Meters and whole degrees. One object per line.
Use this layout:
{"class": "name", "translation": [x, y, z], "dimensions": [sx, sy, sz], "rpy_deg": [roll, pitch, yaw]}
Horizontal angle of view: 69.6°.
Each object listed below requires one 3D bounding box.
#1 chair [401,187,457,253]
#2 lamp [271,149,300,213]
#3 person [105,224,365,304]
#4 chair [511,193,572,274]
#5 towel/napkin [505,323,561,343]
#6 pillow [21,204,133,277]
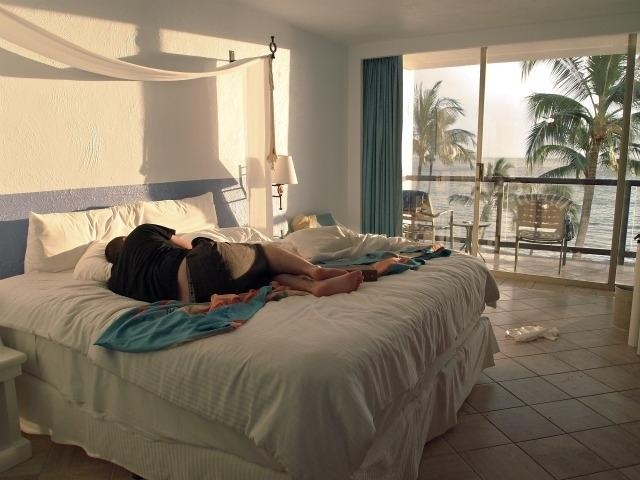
{"class": "chair", "translation": [1.464, -0.214, 6.303], "dimensions": [0.690, 0.885, 0.732], "rpy_deg": [-1, 6, -16]}
{"class": "lamp", "translation": [-0.379, -0.582, 4.820], "dimensions": [0.247, 0.598, 0.576], "rpy_deg": [-1, 10, -4]}
{"class": "person", "translation": [-0.574, 0.206, 3.050], "dimensions": [1.547, 0.645, 0.627], "rpy_deg": [-2, -5, 2]}
{"class": "chair", "translation": [2.729, -0.129, 5.599], "dimensions": [0.666, 0.995, 0.681], "rpy_deg": [5, 19, 27]}
{"class": "towel/napkin", "translation": [1.880, 0.804, 4.059], "dimensions": [0.499, 0.075, 0.305], "rpy_deg": [-2, 9, -9]}
{"class": "pillow", "translation": [-1.690, 0.015, 3.125], "dimensions": [0.128, 0.272, 0.445], "rpy_deg": [-11, 3, 32]}
